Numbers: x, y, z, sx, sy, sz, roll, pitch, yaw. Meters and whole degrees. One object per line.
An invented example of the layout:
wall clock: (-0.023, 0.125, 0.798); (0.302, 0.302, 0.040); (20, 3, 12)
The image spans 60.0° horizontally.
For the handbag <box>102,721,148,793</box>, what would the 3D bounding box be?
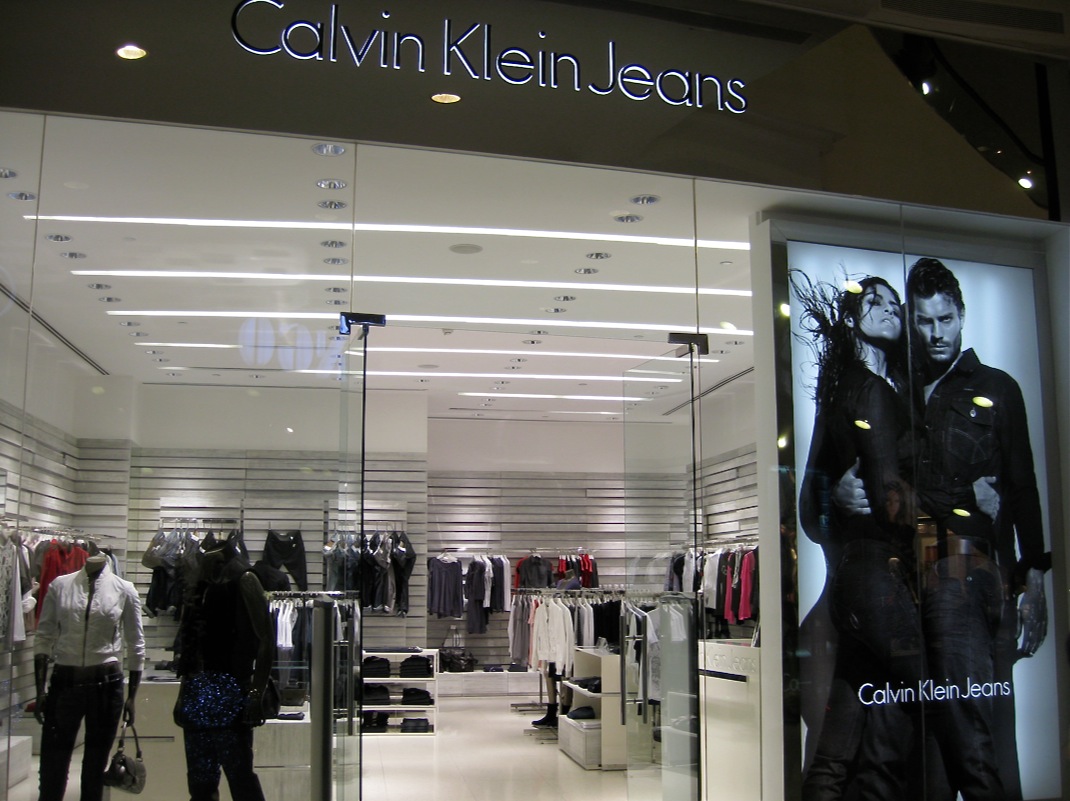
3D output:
handbag: (-1.858, 1.620, 4.181); (0.144, 0.349, 0.215); (-10, -23, 23)

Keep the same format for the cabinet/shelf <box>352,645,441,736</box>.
cabinet/shelf: (-1.420, 3.053, 9.799); (0.767, 0.814, 0.807); (1, -11, -9)

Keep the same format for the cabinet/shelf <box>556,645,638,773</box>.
cabinet/shelf: (0.507, 2.753, 8.348); (0.498, 0.963, 1.058); (0, -10, -4)

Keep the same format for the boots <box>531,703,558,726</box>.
boots: (0.117, 3.343, 9.931); (0.268, 0.263, 0.429); (-1, -10, -1)
